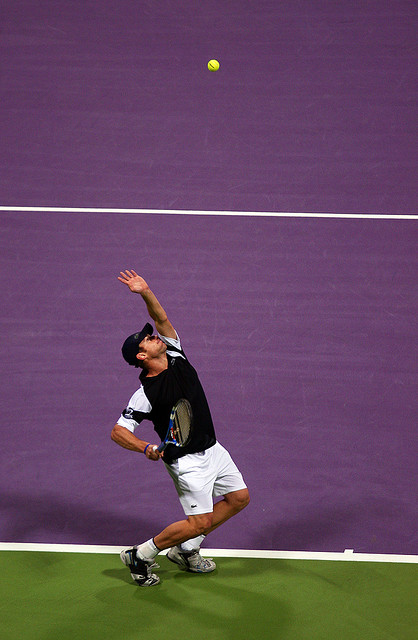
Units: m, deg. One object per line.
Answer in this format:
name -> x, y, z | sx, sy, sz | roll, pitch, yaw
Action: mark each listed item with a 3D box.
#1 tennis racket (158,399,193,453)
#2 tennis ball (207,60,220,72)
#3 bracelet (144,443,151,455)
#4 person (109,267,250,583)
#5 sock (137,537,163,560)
tennis racket -> -0.211, 0.720, 4.956 | 0.182, 0.387, 0.404 | 6, 12, -3
tennis ball -> 0.040, -1.996, 6.116 | 0.079, 0.079, 0.061 | 44, 36, -1
bracelet -> -0.382, 0.798, 4.800 | 0.013, 0.044, 0.046 | 25, -27, 2
person -> -0.214, 0.793, 5.319 | 1.013, 2.213, 1.044 | 0, 14, -27
sock -> -0.385, 1.503, 5.038 | 0.170, 0.162, 0.111 | -13, 39, -21
